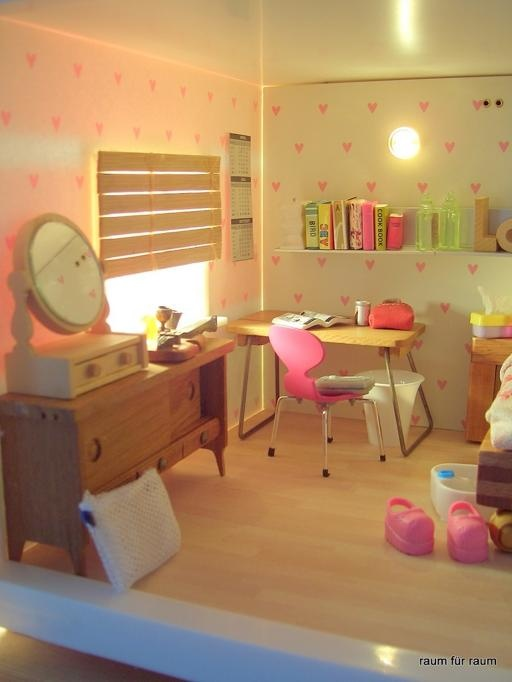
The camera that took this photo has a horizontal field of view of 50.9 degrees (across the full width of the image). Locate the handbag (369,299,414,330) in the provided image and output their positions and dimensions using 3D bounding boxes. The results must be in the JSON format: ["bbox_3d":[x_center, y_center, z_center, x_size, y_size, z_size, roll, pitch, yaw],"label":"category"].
[{"bbox_3d":[0.834,-0.149,3.265,0.197,0.099,0.204,2,12,21],"label":"handbag"}]

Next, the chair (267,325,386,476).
[{"bbox_3d":[0.480,0.272,3.481,1.155,0.715,0.625,2,10,25],"label":"chair"}]
